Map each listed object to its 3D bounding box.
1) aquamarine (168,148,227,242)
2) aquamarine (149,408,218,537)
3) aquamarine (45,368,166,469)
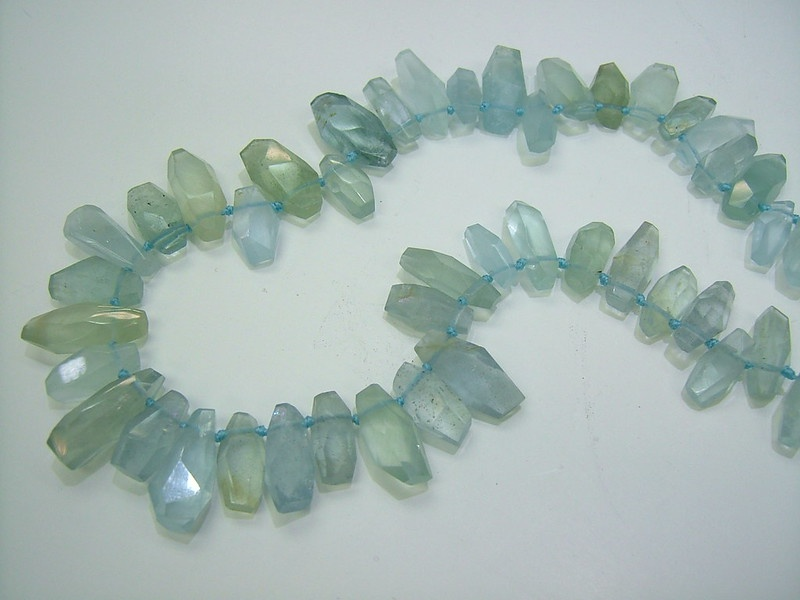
[{"bbox_3d":[-0.495,-0.262,2.101,0.125,0.239,0.066,-14,-9,-22],"label":"aquamarine"},{"bbox_3d":[-0.492,0.401,1.958,0.140,0.272,0.075,12,-21,-13],"label":"aquamarine"},{"bbox_3d":[-0.691,0.271,2.061,0.295,0.144,0.105,-43,2,-13],"label":"aquamarine"}]
